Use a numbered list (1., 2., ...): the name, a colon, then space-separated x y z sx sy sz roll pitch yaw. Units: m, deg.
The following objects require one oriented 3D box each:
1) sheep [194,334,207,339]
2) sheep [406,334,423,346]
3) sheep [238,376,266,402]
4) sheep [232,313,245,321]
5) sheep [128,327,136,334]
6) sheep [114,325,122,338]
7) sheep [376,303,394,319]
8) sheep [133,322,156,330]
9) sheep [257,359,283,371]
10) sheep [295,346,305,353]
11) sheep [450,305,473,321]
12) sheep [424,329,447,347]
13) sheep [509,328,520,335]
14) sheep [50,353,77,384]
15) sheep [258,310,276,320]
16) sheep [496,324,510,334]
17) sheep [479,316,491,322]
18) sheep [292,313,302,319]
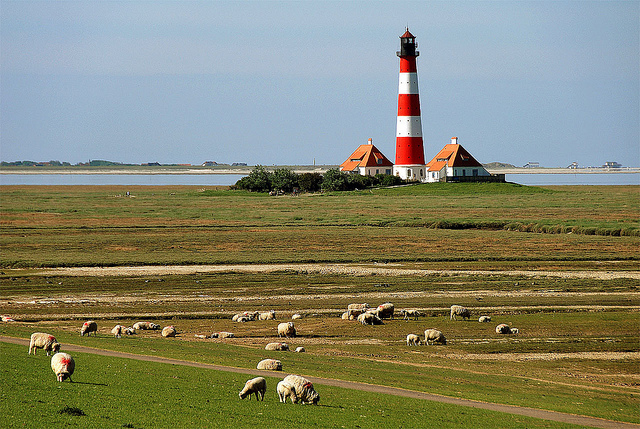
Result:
1. sheep: -7.874 7.900 88.304 0.864 0.279 0.775 0 -4 0
2. sheep: 6.124 8.096 87.821 0.934 0.679 0.715 -1 -5 4
3. sheep: -3.955 10.032 77.987 0.869 1.312 2.182 2 11 44
4. sheep: -5.702 6.918 92.246 0.531 0.219 0.431 -7 7 26
5. sheep: -12.457 7.590 88.941 0.358 0.366 0.726 -1 -5 12
6. sheep: -13.258 7.530 87.995 0.445 0.637 0.962 0 -5 -9
7. sheep: 4.487 6.605 93.097 1.120 1.025 0.706 -1 -5 1
8. sheep: -11.819 7.329 89.871 1.185 0.373 0.570 -3 2 -2
9. sheep: -3.069 8.974 81.389 1.094 0.491 0.689 -1 1 -4
10. sheep: -1.340 8.479 85.798 0.625 0.302 0.656 0 -4 -4
11. sheep: 9.611 6.691 92.580 1.576 1.019 1.087 0 -5 -8
12. sheep: 7.476 7.923 87.956 1.424 0.955 0.580 -1 -5 5
13. sheep: 12.907 7.661 89.762 0.662 0.365 0.570 -1 -5 7
14. sheep: -14.887 8.849 78.312 1.502 1.586 2.934 0 8 -12
15. sheep: -3.678 6.862 92.491 1.025 0.446 0.474 -7 -4 34
16. sheep: 12.203 7.530 89.773 0.656 0.326 0.639 3 10 28
17. sheep: 11.231 7.035 92.054 0.890 0.339 0.484 0 -5 -11
18. sheep: -1.663 6.937 92.706 0.572 0.298 0.742 0 -4 -2
